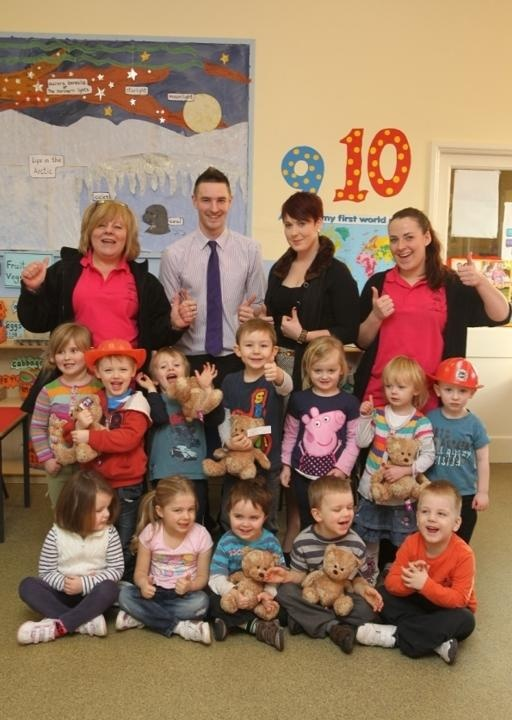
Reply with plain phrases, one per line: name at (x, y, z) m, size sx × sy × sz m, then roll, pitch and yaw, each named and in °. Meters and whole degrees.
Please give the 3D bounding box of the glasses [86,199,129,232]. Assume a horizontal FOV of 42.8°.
glasses at (-0.544, -0.532, 2.392) m, size 0.158 × 0.125 × 0.128 m, roll -4°, pitch 8°, yaw -38°

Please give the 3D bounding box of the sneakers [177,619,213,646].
sneakers at (-0.194, 0.836, 2.011) m, size 0.138 × 0.042 × 0.055 m, roll 0°, pitch 7°, yaw 45°

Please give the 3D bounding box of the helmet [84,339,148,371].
helmet at (-0.503, -0.018, 2.339) m, size 0.224 × 0.113 × 0.161 m, roll -1°, pitch 7°, yaw -21°

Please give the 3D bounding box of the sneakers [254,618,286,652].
sneakers at (0.040, 0.837, 1.991) m, size 0.054 × 0.038 × 0.121 m, roll 2°, pitch 0°, yaw -24°

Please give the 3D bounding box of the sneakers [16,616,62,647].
sneakers at (-0.652, 0.812, 2.007) m, size 0.065 × 0.050 × 0.149 m, roll -1°, pitch 6°, yaw 33°

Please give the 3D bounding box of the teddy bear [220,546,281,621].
teddy bear at (-0.018, 0.706, 2.049) m, size 0.178 × 0.217 × 0.119 m, roll 2°, pitch 7°, yaw 2°

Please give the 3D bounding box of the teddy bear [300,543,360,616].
teddy bear at (0.249, 0.700, 2.072) m, size 0.162 × 0.193 × 0.145 m, roll 24°, pitch 10°, yaw 27°
